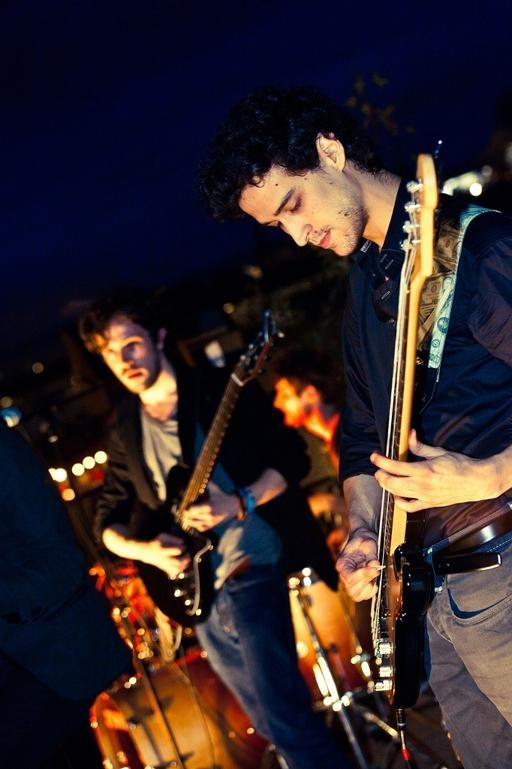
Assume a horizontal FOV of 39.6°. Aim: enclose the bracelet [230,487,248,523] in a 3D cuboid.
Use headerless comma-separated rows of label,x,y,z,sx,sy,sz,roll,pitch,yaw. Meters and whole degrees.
bracelet,-0.071,0.604,3.516,0.045,0.106,0.118,4,60,-2
